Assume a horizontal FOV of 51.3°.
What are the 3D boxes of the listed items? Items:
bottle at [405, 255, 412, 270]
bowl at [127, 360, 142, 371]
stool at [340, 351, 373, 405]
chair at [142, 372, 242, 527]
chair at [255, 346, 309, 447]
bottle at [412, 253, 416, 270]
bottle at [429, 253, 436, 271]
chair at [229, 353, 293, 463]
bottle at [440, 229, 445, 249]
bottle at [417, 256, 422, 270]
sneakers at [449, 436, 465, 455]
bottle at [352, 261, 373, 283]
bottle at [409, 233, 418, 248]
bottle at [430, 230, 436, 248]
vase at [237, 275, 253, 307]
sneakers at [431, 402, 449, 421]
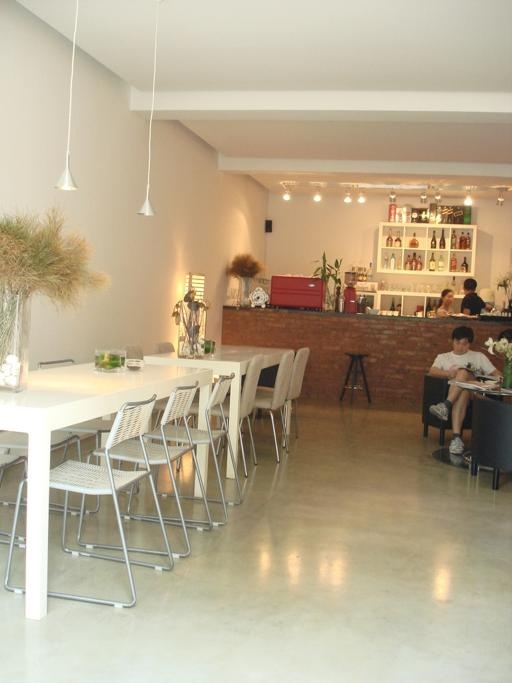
[{"bbox_3d":[2.841,-1.482,9.979,0.138,0.226,0.128,3,-1,0],"label":"bottle"},{"bbox_3d":[-0.755,0.146,3.306,0.071,0.045,0.066,-1,6,0],"label":"bowl"},{"bbox_3d":[1.535,0.553,8.187,0.502,0.611,0.439,3,-1,9],"label":"stool"},{"bbox_3d":[-0.422,0.667,3.436,0.648,0.921,0.637,6,1,24],"label":"chair"},{"bbox_3d":[0.174,0.538,5.409,0.590,1.021,0.550,10,14,35],"label":"chair"},{"bbox_3d":[2.945,-1.475,9.938,0.079,0.236,0.118,2,-1,17],"label":"bottle"},{"bbox_3d":[3.271,-1.471,9.904,0.124,0.235,0.122,3,-1,0],"label":"bottle"},{"bbox_3d":[0.069,0.559,4.930,0.595,0.899,0.592,0,5,-6],"label":"chair"},{"bbox_3d":[3.497,-1.916,10.018,0.122,0.414,0.281,2,-1,17],"label":"bottle"},{"bbox_3d":[3.032,-1.450,9.945,0.108,0.200,0.158,2,-1,20],"label":"bottle"},{"bbox_3d":[1.923,0.999,5.127,0.093,0.112,0.245,0,-3,10],"label":"sneakers"},{"bbox_3d":[2.062,-1.368,10.432,0.355,0.316,0.709,2,-1,18],"label":"bottle"},{"bbox_3d":[2.936,-1.872,9.979,0.190,0.309,0.205,-1,6,0],"label":"bottle"},{"bbox_3d":[3.320,-1.893,9.988,0.109,0.374,0.266,2,-1,19],"label":"bottle"},{"bbox_3d":[-0.188,-0.816,8.979,0.215,0.428,0.403,3,-1,-1],"label":"vase"},{"bbox_3d":[1.798,0.683,5.228,0.085,0.113,0.261,-9,1,8],"label":"sneakers"}]
